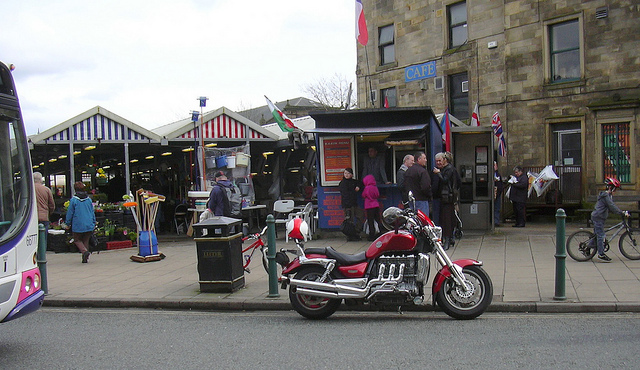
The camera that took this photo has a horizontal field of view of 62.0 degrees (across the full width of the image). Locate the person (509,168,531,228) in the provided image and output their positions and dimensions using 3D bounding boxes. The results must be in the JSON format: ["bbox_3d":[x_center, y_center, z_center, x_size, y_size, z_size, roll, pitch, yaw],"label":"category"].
[{"bbox_3d":[7.898,0.482,21.137,0.673,2.307,1.197,1,10,21],"label":"person"}]

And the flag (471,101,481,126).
[{"bbox_3d":[7.223,-3.320,24.665,0.354,1.054,2.154,0,10,16],"label":"flag"}]

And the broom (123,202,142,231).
[{"bbox_3d":[-5.854,0.970,16.795,0.365,0.963,0.774,-6,10,-19],"label":"broom"}]

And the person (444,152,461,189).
[{"bbox_3d":[4.321,-0.574,17.572,0.314,0.981,0.969,3,8,44],"label":"person"}]

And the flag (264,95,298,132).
[{"bbox_3d":[-1.598,-2.798,20.940,0.670,1.725,0.157,-22,16,39],"label":"flag"}]

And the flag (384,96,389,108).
[{"bbox_3d":[3.806,-4.856,30.538,0.206,0.567,0.249,4,12,34],"label":"flag"}]
